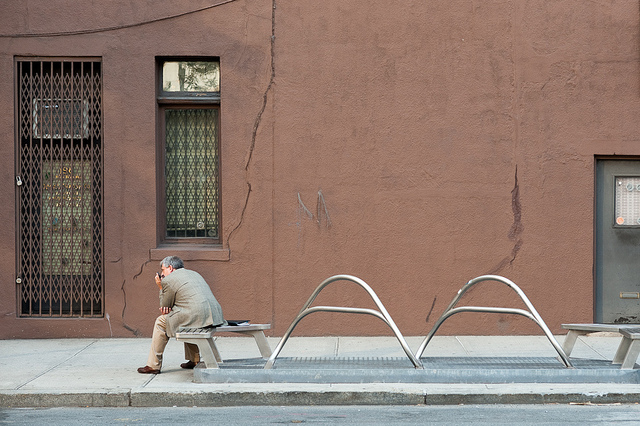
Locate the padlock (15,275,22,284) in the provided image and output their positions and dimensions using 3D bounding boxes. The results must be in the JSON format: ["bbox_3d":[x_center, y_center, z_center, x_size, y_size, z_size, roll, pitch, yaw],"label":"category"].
[{"bbox_3d":[-5.395,1.181,18.451,0.186,0.149,0.066,3,-5,-17],"label":"padlock"}]

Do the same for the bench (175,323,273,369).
[{"bbox_3d":[-1.619,2.077,16.412,1.197,0.469,1.535,-4,-3,32],"label":"bench"}]

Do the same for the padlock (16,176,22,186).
[{"bbox_3d":[-5.385,-0.592,18.446,0.109,0.124,0.062,-2,1,-4],"label":"padlock"}]

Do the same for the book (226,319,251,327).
[{"bbox_3d":[-1.263,1.777,16.552,0.274,0.073,0.253,3,-3,-38],"label":"book"}]
